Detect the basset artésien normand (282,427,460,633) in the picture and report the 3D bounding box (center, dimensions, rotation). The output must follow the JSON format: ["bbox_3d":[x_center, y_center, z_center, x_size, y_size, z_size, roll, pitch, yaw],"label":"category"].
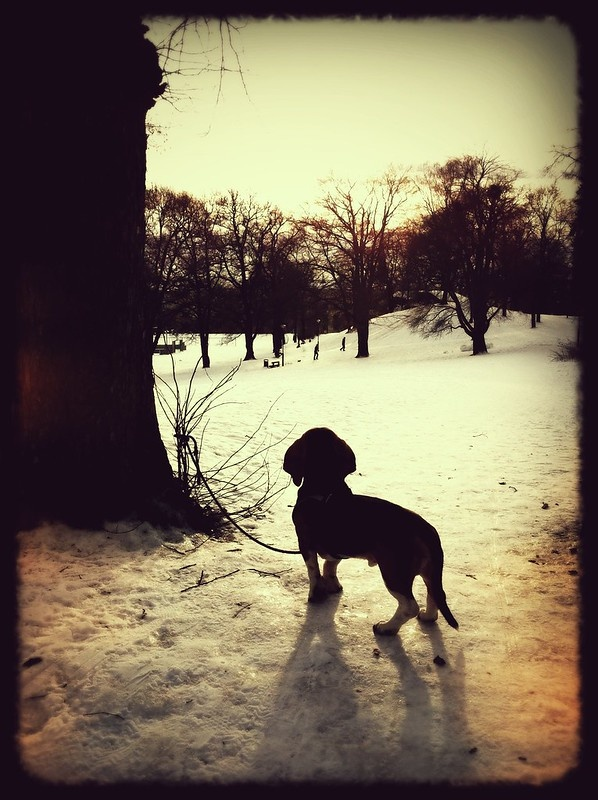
[{"bbox_3d":[0.373,0.745,4.979,0.387,1.139,0.966,-6,6,-41],"label":"basset artésien normand"}]
